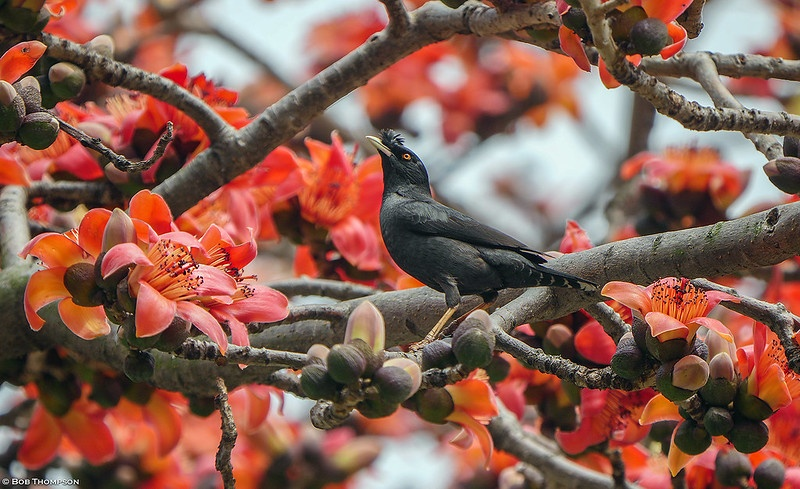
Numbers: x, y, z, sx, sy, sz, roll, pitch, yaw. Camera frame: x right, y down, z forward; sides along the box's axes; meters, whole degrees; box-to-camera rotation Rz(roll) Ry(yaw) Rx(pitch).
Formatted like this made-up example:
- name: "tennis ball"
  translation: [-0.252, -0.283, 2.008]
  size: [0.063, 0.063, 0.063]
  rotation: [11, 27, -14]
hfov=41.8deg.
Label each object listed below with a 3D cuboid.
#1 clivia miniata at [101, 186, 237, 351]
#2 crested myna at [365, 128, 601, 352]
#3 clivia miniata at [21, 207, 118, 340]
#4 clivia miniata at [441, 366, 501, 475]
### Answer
- name: "clivia miniata"
  translation: [-0.911, 0.118, 4.119]
  size: [0.642, 0.507, 0.306]
  rotation: [29, -57, -17]
- name: "crested myna"
  translation: [0.301, -0.022, 4.769]
  size: [1.193, 0.368, 0.797]
  rotation: [13, -97, 4]
- name: "clivia miniata"
  translation: [-1.296, 0.101, 4.249]
  size: [0.377, 0.282, 0.498]
  rotation: [2, -80, 12]
- name: "clivia miniata"
  translation: [0.283, 0.739, 4.456]
  size: [0.222, 0.184, 0.427]
  rotation: [1, -89, 4]
